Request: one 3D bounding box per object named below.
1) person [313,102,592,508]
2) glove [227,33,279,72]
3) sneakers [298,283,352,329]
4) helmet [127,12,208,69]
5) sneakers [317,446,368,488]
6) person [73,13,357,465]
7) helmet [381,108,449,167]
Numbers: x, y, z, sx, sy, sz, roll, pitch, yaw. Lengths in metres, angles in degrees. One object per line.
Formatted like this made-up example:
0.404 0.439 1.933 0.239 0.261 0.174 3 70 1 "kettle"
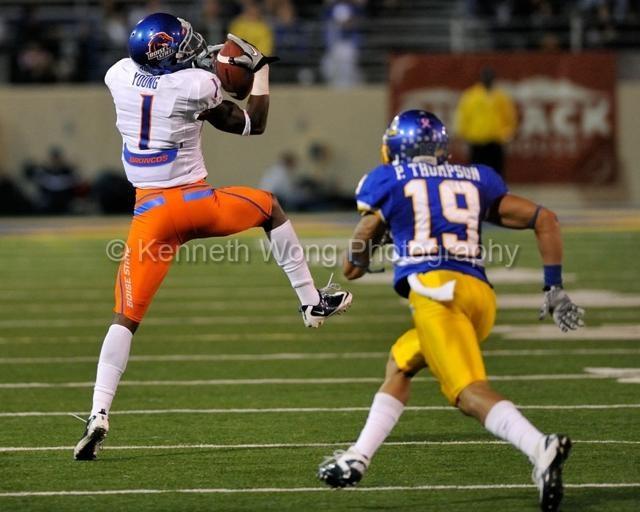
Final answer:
0.766 0.275 6.728 1.330 2.125 1.030 3 13 17 "person"
-0.442 -1.273 7.623 0.301 0.241 0.116 29 -17 -6 "glove"
0.032 0.303 7.819 0.196 0.197 0.417 1 25 45 "sneakers"
-0.982 -1.351 7.520 0.524 0.346 0.354 -11 23 -27 "helmet"
0.135 1.176 6.624 0.214 0.130 0.263 -1 -7 -8 "sneakers"
-0.808 -0.165 7.489 1.640 2.669 0.770 -4 13 -16 "person"
0.578 -0.685 7.057 0.368 0.382 0.429 -2 5 -7 "helmet"
